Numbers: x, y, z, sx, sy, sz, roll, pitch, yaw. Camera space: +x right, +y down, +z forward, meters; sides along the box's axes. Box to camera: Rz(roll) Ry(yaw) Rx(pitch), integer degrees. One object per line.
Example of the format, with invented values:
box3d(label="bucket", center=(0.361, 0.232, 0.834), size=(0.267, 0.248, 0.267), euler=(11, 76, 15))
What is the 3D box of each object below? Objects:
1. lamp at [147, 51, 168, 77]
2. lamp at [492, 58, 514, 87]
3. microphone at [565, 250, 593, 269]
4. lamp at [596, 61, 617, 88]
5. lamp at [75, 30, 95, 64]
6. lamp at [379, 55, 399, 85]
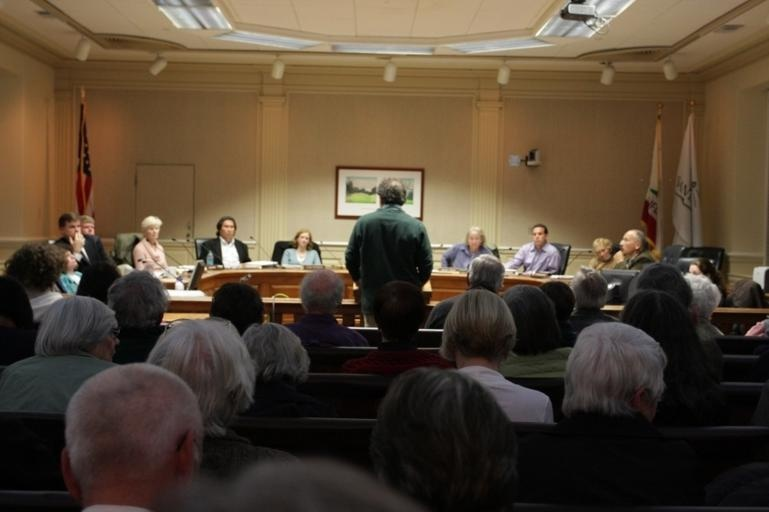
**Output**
box3d(label="lamp", center=(-3.061, -2.617, 8.061), size=(0.203, 0.347, 0.895), euler=(0, 5, -19))
box3d(label="lamp", center=(1.613, -2.397, 8.029), size=(0.286, 0.397, 0.538), euler=(2, 11, 5))
box3d(label="microphone", center=(2.664, 0.027, 8.138), size=(0.258, 0.268, 0.154), euler=(3, -3, 0))
box3d(label="lamp", center=(3.063, -2.537, 8.144), size=(0.218, 0.230, 0.355), euler=(15, -13, 2))
box3d(label="lamp", center=(-3.762, -2.669, 7.448), size=(0.245, 0.258, 0.440), euler=(-1, 27, -12))
box3d(label="lamp", center=(0.082, -2.502, 8.010), size=(0.185, 0.353, 0.346), euler=(1, -2, 1))
